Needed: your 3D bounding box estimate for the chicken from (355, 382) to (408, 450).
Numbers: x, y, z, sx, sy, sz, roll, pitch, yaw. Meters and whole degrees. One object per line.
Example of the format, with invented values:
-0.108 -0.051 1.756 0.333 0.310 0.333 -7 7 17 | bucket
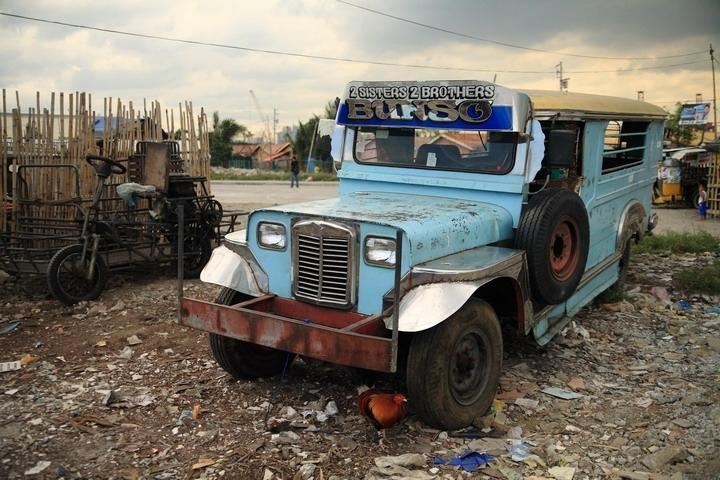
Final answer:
0.252 1.589 4.634 0.423 0.330 0.443 -9 14 -29 | chicken
